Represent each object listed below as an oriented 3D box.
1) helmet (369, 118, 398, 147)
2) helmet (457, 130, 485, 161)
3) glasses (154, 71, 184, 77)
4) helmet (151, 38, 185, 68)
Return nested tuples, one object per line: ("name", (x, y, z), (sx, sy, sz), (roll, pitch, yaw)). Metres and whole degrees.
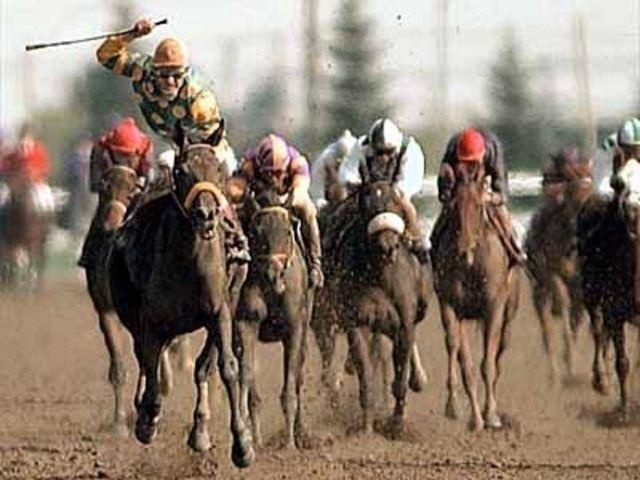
("helmet", (0.561, -0.930, 14.972), (0.276, 0.253, 0.169), (-1, 3, 1))
("helmet", (1.285, -0.832, 15.131), (0.169, 0.278, 0.142), (-3, -12, 0))
("glasses", (-1.257, -1.428, 14.993), (0.213, 0.053, 0.051), (-1, 3, -2))
("helmet", (-1.254, -1.601, 14.929), (0.172, 0.237, 0.277), (3, 32, -1))
